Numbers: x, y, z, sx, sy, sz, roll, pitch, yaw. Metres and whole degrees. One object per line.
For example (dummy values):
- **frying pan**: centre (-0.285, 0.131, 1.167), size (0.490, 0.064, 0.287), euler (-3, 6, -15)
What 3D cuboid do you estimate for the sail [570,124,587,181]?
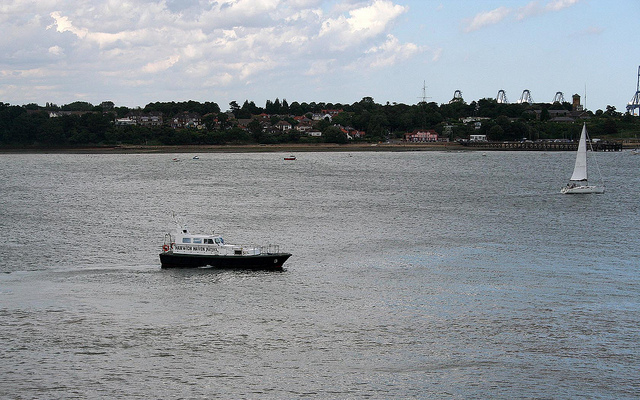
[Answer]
- **sail**: centre (45.852, -7.854, 229.577), size (2.187, 9.944, 2.914), euler (0, 17, 2)

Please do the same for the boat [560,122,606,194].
- **boat**: centre (46.901, -5.421, 231.133), size (7.738, 12.316, 5.742), euler (2, -4, -4)

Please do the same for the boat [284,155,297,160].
- **boat**: centre (-7.716, -10.775, 337.388), size (3.248, 0.982, 1.380), euler (-1, 5, 7)
